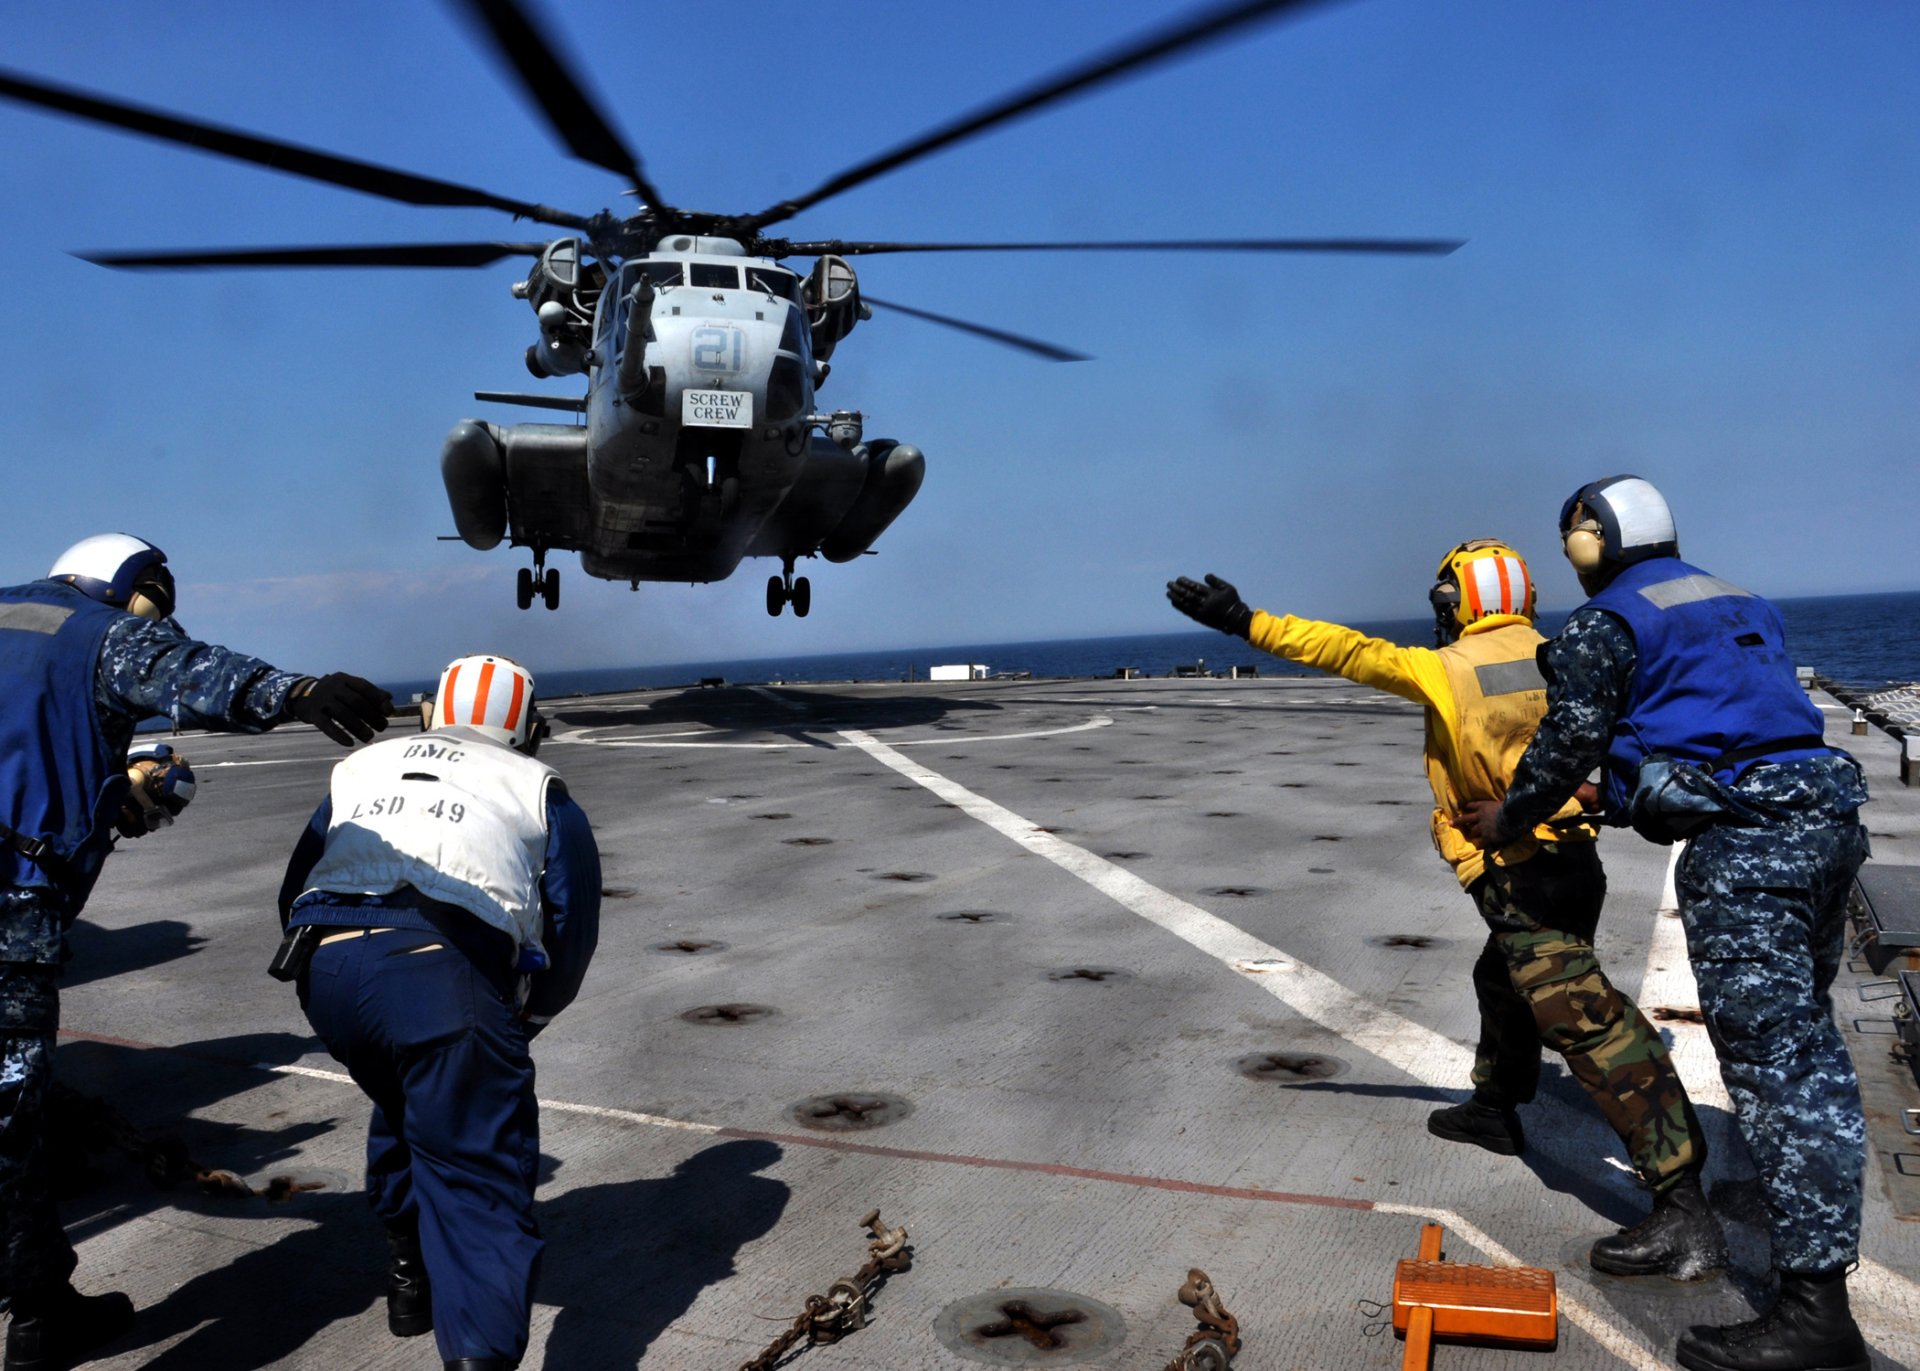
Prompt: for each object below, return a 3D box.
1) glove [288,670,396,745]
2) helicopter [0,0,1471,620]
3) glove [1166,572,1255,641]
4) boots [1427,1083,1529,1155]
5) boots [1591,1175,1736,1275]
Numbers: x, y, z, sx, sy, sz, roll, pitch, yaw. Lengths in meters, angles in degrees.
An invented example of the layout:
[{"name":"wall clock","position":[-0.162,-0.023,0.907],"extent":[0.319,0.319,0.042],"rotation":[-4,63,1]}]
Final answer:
[{"name":"glove","position":[-1.946,0.089,3.608],"extent":[0.279,0.240,0.370],"rotation":[-4,6,-27]},{"name":"helicopter","position":[-3.303,-3.693,12.705],"extent":[9.811,2.857,9.266],"rotation":[1,6,-6]},{"name":"glove","position":[1.036,-0.302,4.612],"extent":[0.296,0.245,0.332],"rotation":[1,6,20]},{"name":"boots","position":[2.348,1.927,5.183],"extent":[0.472,0.213,0.206],"rotation":[10,-6,19]},{"name":"boots","position":[2.534,1.915,4.170],"extent":[0.524,0.352,0.174],"rotation":[5,-7,-8]}]
